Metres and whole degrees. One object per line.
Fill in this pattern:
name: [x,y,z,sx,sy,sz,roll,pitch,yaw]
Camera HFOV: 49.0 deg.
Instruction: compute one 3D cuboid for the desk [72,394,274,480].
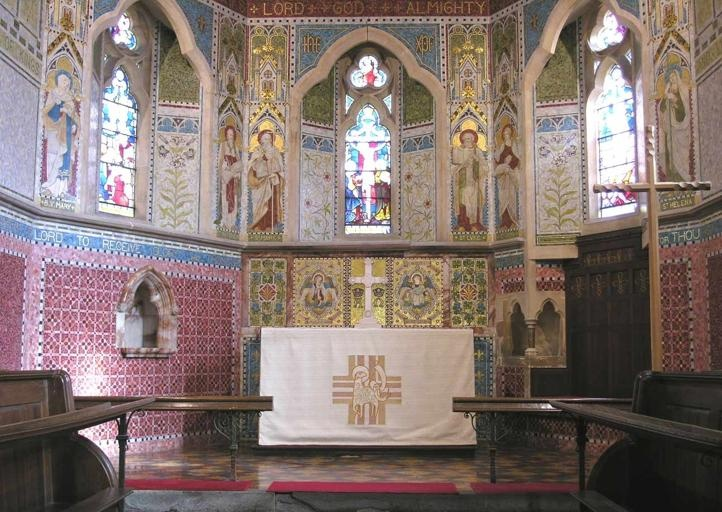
desk: [-2.410,2.859,11.587,3.426,1.241,1.308,0,-23,-1]
